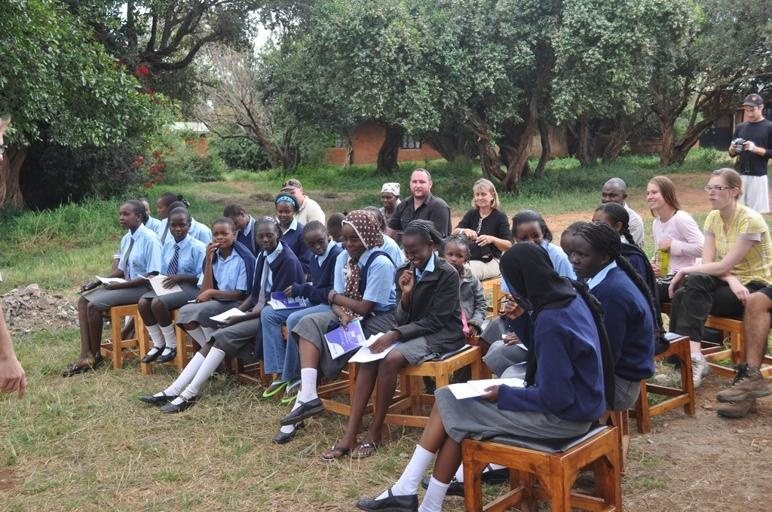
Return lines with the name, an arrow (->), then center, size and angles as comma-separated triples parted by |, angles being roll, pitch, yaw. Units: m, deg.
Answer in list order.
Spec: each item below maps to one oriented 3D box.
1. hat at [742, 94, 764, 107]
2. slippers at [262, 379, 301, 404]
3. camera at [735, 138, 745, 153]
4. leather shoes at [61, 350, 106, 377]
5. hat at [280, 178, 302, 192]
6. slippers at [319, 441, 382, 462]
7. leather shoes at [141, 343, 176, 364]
hat -> 5.868, -2.514, 12.515 | 0.366, 0.191, 0.241 | 7, 5, -36
slippers -> -1.337, 1.751, 10.257 | 0.333, 0.138, 0.445 | 3, 9, 33
camera -> 5.673, -1.787, 12.618 | 0.156, 0.190, 0.082 | 1, -3, 38
leather shoes -> -4.397, 1.597, 11.332 | 0.461, 0.158, 0.215 | -5, 2, -27
hat -> -1.503, -1.124, 12.433 | 0.219, 0.172, 0.342 | -3, -15, 17
slippers -> -0.450, 2.265, 9.268 | 0.640, 0.137, 0.244 | -3, 1, -17
leather shoes -> -3.219, 1.393, 11.186 | 0.436, 0.124, 0.237 | -4, 10, -44
